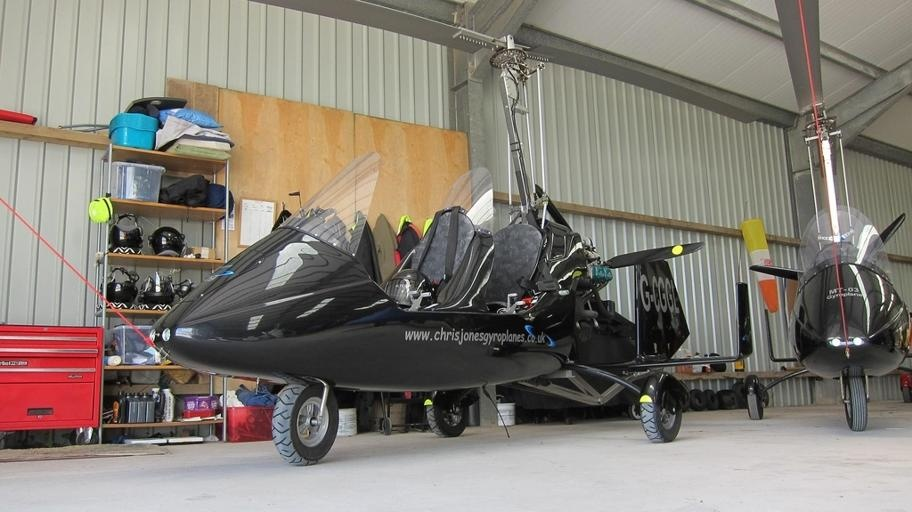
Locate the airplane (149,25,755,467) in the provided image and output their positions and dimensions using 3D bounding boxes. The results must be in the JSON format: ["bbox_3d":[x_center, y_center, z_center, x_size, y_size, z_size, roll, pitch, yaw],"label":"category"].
[{"bbox_3d":[0.086,-0.004,9.744,7.824,4.596,4.165,7,-10,-43],"label":"airplane"}]

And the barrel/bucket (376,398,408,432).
[{"bbox_3d":[-0.934,2.323,10.984,0.521,0.506,0.496,-1,-8,0],"label":"barrel/bucket"}]

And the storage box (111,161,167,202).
[{"bbox_3d":[-4.303,-1.013,10.337,0.646,0.371,0.528,2,-8,-19],"label":"storage box"}]

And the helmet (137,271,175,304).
[{"bbox_3d":[-4.004,0.464,10.198,0.370,0.380,0.474,4,-2,-42],"label":"helmet"}]

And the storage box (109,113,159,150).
[{"bbox_3d":[-4.470,-1.690,10.519,0.590,0.419,0.677,2,-2,-31],"label":"storage box"}]

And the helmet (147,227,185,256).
[{"bbox_3d":[-3.929,-0.214,10.394,0.399,0.405,0.400,1,3,-3],"label":"helmet"}]

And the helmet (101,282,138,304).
[{"bbox_3d":[-4.442,0.489,10.088,0.352,0.299,0.281,-5,10,-13],"label":"helmet"}]

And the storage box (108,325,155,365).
[{"bbox_3d":[-4.219,1.173,9.882,0.746,0.506,0.732,4,-6,-33],"label":"storage box"}]

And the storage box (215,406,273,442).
[{"bbox_3d":[-2.838,2.137,10.203,0.683,0.386,0.664,1,-4,-19],"label":"storage box"}]

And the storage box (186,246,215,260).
[{"bbox_3d":[-3.516,-0.037,10.533,0.244,0.137,0.238,1,-3,-30],"label":"storage box"}]
